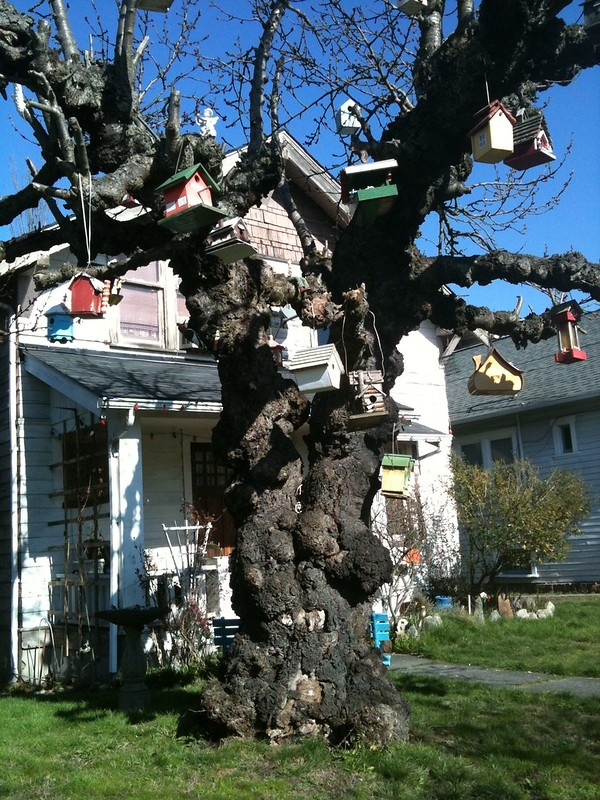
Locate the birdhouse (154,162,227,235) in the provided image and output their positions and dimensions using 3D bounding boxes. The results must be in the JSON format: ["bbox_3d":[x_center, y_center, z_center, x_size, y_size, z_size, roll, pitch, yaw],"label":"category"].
[{"bbox_3d":[-0.697,-1.315,5.389,0.421,0.394,0.383,0,-8,-9],"label":"birdhouse"}]

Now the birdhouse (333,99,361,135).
[{"bbox_3d":[0.455,-2.711,8.192,0.239,0.427,0.270,-3,-8,12],"label":"birdhouse"}]

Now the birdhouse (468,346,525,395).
[{"bbox_3d":[1.712,-0.244,7.544,0.441,0.427,0.394,-3,-8,10],"label":"birdhouse"}]

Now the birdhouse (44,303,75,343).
[{"bbox_3d":[-2.320,-0.758,8.167,0.240,0.420,0.449,1,-8,-16],"label":"birdhouse"}]

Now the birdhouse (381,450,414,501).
[{"bbox_3d":[0.834,0.658,7.236,0.392,0.415,0.378,-1,-20,16],"label":"birdhouse"}]

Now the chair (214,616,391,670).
[{"bbox_3d":[0.019,1.706,5.879,1.263,0.457,0.408,-1,-15,3],"label":"chair"}]

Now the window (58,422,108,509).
[{"bbox_3d":[-2.482,0.766,9.796,0.576,0.927,1.012,7,-16,-42],"label":"window"}]

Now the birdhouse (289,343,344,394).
[{"bbox_3d":[0.089,-0.201,5.795,0.365,0.302,0.350,-16,-18,26],"label":"birdhouse"}]

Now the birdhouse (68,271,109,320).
[{"bbox_3d":[-1.576,-0.767,6.255,0.267,0.283,0.389,-3,-8,13],"label":"birdhouse"}]

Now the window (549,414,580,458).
[{"bbox_3d":[5.333,0.738,17.126,0.352,1.039,0.718,17,-23,-34],"label":"window"}]
